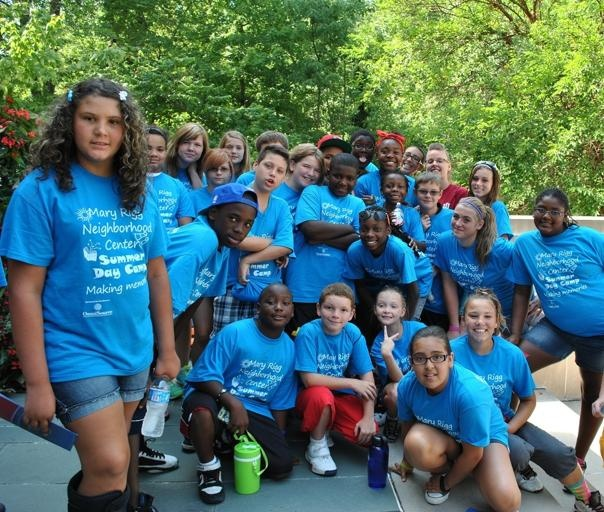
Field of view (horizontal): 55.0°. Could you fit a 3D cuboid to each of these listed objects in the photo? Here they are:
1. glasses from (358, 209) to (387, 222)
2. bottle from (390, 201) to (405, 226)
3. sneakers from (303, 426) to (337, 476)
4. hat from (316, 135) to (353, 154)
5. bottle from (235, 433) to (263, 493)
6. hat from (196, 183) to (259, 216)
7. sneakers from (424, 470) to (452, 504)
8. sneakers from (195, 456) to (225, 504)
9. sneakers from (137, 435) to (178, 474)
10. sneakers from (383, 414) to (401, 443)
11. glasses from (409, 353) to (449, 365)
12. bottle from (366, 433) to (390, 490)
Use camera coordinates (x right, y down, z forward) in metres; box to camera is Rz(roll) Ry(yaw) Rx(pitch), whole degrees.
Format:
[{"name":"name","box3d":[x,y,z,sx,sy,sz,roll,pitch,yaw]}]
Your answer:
[{"name":"glasses","box3d":[0.579,-0.314,4.630,0.123,0.043,0.143,0,-30,13]},{"name":"bottle","box3d":[0.830,-0.356,4.970,0.136,0.185,0.084,2,-17,20]},{"name":"sneakers","box3d":[0.133,1.387,3.961,0.141,0.183,0.311,1,-7,-15]},{"name":"hat","box3d":[0.293,-1.083,5.546,0.214,0.130,0.279,11,-16,-15]},{"name":"bottle","box3d":[-0.350,1.364,3.727,0.160,0.287,0.177,-1,13,-8]},{"name":"hat","box3d":[-0.399,-0.357,3.894,0.479,0.177,0.296,5,-1,37]},{"name":"sneakers","box3d":[0.893,1.521,3.787,0.115,0.083,0.247,3,2,29]},{"name":"sneakers","box3d":[-0.570,1.413,3.584,0.132,0.125,0.332,-1,-2,-14]},{"name":"sneakers","box3d":[-0.900,1.364,4.012,0.459,0.251,0.135,2,0,-11]},{"name":"sneakers","box3d":[0.692,1.332,4.462,0.110,0.080,0.230,0,9,0]},{"name":"glasses","box3d":[0.809,0.658,3.667,0.213,0.081,0.046,2,13,5]},{"name":"bottle","box3d":[0.505,1.341,3.816,0.129,0.350,0.170,3,14,9]}]
